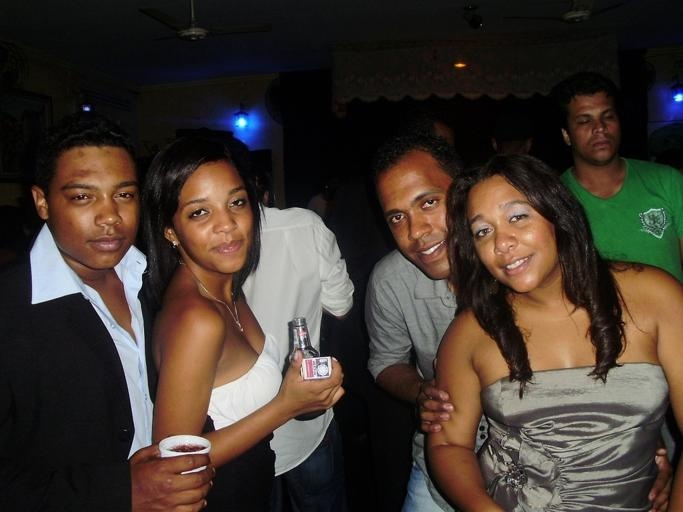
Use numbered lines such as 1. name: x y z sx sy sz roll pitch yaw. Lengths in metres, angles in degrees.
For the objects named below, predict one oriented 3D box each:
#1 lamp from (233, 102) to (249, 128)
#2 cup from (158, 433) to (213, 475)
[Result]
1. lamp: -1.921 -2.685 10.122 0.321 0.467 0.172 -1 4 20
2. cup: -0.709 0.915 2.386 0.210 0.139 0.198 -5 -9 -1
